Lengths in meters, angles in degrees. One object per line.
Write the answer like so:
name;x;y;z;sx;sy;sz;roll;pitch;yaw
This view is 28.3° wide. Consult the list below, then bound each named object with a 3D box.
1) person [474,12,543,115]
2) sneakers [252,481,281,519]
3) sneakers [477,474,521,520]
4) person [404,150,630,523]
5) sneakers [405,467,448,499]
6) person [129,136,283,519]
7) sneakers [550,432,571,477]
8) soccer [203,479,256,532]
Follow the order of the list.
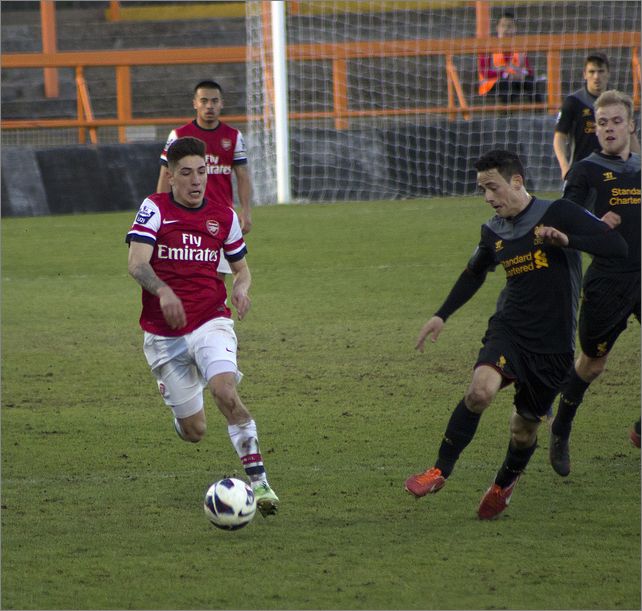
person;2.565;-3.365;17.528;0.775;1.442;0.836;-6;14;-11
sneakers;-0.288;0.991;6.409;0.103;0.075;0.212;13;3;-5
sneakers;0.936;0.994;6.601;0.130;0.124;0.334;18;42;28
person;1.006;0.128;6.669;1.064;1.844;0.554;-10;17;-26
sneakers;0.538;0.911;6.593;0.274;0.122;0.095;-10;53;-48
person;-0.710;-0.006;6.785;0.632;1.689;1.015;-4;15;-5
sneakers;1.309;0.821;6.957;0.087;0.104;0.240;-5;56;7
soccer;-0.463;1.032;6.442;0.310;0.292;0.309;1;1;1
